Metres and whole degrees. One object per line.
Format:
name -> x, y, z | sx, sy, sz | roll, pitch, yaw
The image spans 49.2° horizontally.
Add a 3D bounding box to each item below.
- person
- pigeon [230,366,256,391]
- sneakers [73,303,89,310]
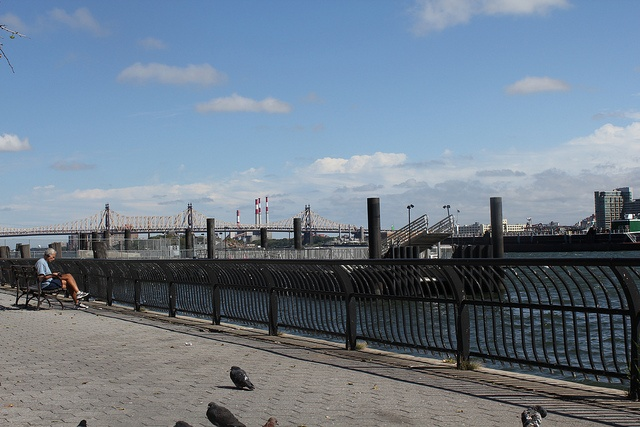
person -> -6.236, 1.547, 16.677 | 1.173, 1.031, 0.544 | 0, 0, 4
pigeon -> -1.036, 2.129, 9.186 | 0.375, 0.261, 0.191 | 1, 45, 50
sneakers -> -5.675, 2.194, 16.484 | 0.351, 0.155, 0.126 | 1, 1, 4
